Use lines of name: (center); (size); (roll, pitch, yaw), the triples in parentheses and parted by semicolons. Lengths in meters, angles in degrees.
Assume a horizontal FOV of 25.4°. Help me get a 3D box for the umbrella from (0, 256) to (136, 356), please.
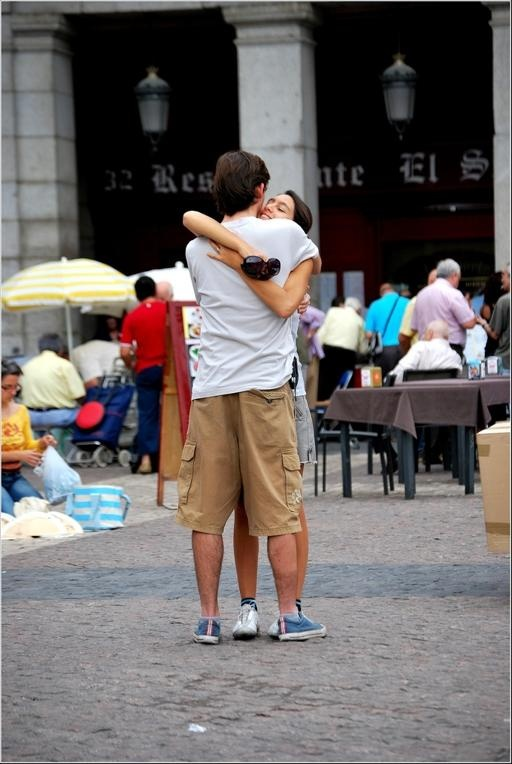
umbrella: (-2.058, -1.093, 12.715); (1.479, 1.306, 1.531); (2, 7, 18)

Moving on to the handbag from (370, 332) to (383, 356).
handbag: (1.331, -0.423, 12.378); (0.078, 0.228, 0.162); (-10, -10, -23)

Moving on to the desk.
desk: (1.299, 0.255, 9.032); (1.233, 0.669, 1.035); (-1, -1, -41)

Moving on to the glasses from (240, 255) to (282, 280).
glasses: (0.039, -0.426, 4.216); (0.181, 0.090, 0.083); (-4, 4, -29)

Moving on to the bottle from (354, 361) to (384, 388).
bottle: (0.978, -0.072, 9.663); (0.188, 0.202, 0.195); (0, -1, -4)

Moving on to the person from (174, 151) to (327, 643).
person: (-0.027, 0.052, 4.344); (0.577, 1.887, 0.333); (-2, 3, 3)

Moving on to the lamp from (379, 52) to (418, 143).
lamp: (1.717, -3.460, 13.436); (0.393, 0.942, 0.474); (-2, 3, 6)

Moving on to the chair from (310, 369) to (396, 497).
chair: (0.904, 0.437, 9.953); (0.705, 1.123, 0.648); (3, -2, -1)

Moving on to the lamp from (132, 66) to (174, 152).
lamp: (-1.232, -3.374, 13.801); (0.428, 0.909, 0.439); (4, 17, 15)
